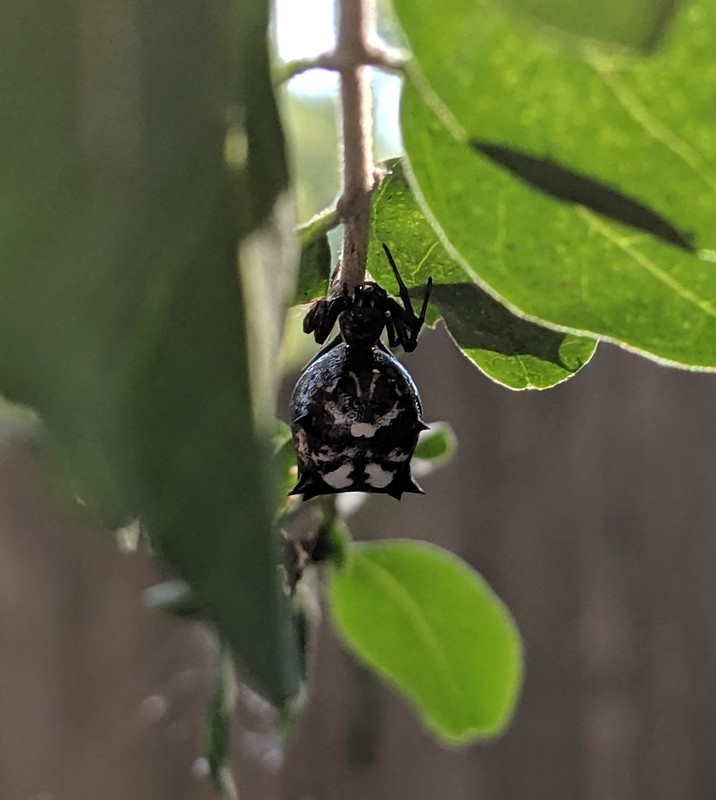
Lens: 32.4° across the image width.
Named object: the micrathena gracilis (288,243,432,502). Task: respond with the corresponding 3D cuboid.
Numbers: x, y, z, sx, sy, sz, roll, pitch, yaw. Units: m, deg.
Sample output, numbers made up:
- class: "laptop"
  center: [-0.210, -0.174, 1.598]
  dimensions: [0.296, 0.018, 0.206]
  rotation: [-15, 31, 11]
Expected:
- class: "micrathena gracilis"
  center: [0.002, 0.003, 0.648]
  dimensions: [0.069, 0.140, 0.124]
  rotation: [2, 64, 4]
